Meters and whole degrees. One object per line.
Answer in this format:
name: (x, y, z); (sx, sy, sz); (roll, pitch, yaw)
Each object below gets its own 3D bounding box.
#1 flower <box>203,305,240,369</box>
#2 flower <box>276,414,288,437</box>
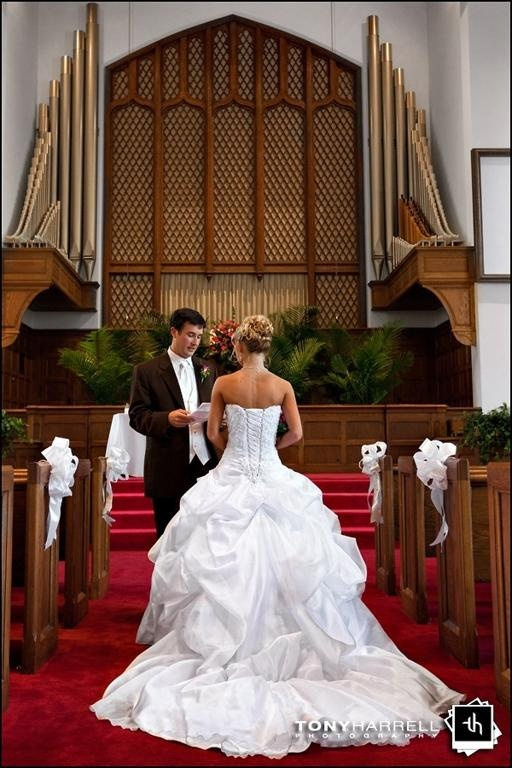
flower: (-0.270, -0.477, 6.330); (0.367, 0.367, 0.369); (18, 3, -14)
flower: (0.115, 0.184, 2.693); (0.061, 0.092, 0.039); (-4, -14, 13)
